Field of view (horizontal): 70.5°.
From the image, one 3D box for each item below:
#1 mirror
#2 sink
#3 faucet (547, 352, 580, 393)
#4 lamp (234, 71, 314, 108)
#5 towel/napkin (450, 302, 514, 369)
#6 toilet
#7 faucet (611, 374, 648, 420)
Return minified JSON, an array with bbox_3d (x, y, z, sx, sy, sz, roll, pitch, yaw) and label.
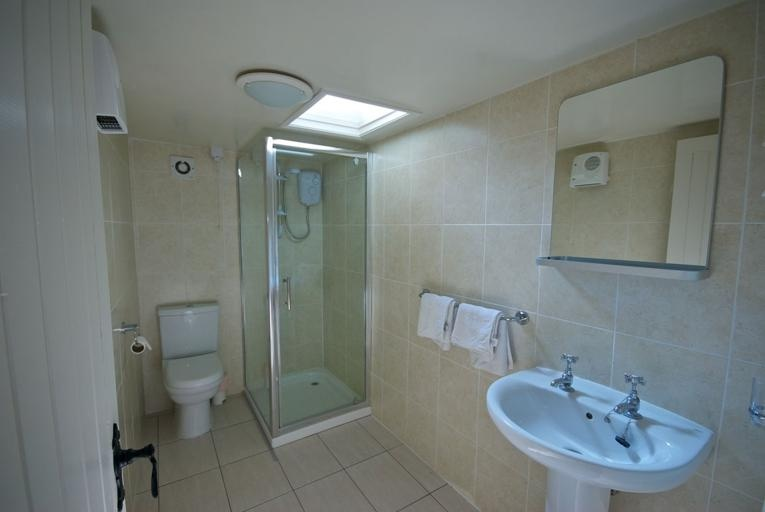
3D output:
[{"bbox_3d":[1.109,-0.402,2.372,0.790,1.078,0.188,-3,-30,31],"label":"mirror"},{"bbox_3d":[0.880,0.766,2.348,0.884,0.298,0.490,3,9,39],"label":"sink"},{"bbox_3d":[0.855,0.553,2.562,0.167,0.163,0.113,-3,12,-33],"label":"faucet"},{"bbox_3d":[-0.547,-0.856,2.763,0.381,0.131,0.255,-3,7,-9],"label":"lamp"},{"bbox_3d":[0.541,0.414,2.885,0.180,0.326,0.333,-4,9,-31],"label":"towel/napkin"},{"bbox_3d":[-1.344,0.781,3.807,0.416,0.856,0.599,-5,8,-18],"label":"toilet"},{"bbox_3d":[1.086,0.610,2.387,0.114,0.189,0.144,4,9,37],"label":"faucet"}]
